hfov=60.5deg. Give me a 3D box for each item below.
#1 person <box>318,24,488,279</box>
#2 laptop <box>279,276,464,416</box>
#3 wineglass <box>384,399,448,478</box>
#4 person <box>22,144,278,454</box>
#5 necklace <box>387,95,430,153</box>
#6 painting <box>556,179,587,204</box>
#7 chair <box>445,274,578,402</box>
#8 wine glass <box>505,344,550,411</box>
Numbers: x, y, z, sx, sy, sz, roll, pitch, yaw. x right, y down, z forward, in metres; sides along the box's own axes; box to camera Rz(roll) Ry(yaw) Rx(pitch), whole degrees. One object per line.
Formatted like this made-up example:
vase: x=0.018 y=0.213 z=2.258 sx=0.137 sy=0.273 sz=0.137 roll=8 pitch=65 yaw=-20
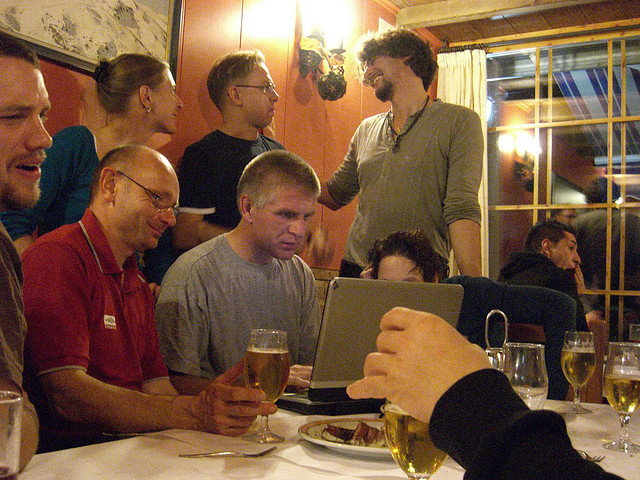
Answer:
person: x=0.425 y=-0.431 z=2.816 sx=0.364 sy=1.020 sz=1.010 roll=2 pitch=1 yaw=-36
laptop: x=0.135 y=0.309 z=1.600 sx=0.459 sy=0.339 sz=0.390 roll=7 pitch=-14 yaw=-27
wineglass: x=0.138 y=0.323 z=0.848 sx=0.104 sy=0.102 sz=0.128 roll=3 pitch=1 yaw=20
person: x=-0.565 y=0.189 z=1.799 sx=0.824 sy=0.966 sz=0.716 roll=-2 pitch=-13 yaw=2
necklace: x=0.459 y=-0.565 z=2.733 sx=0.040 sy=0.288 sz=0.165 roll=26 pitch=-8 yaw=-27
painting: x=2.365 y=-0.453 z=5.124 sx=0.225 sy=0.181 sz=0.023 roll=-5 pitch=-12 yaw=34
chair: x=0.848 y=0.392 z=2.436 sx=0.436 sy=0.669 sz=0.499 roll=-4 pitch=-7 yaw=-3
wine glass: x=0.477 y=0.328 z=1.272 sx=0.107 sy=0.155 sz=0.105 roll=8 pitch=-8 yaw=-39
